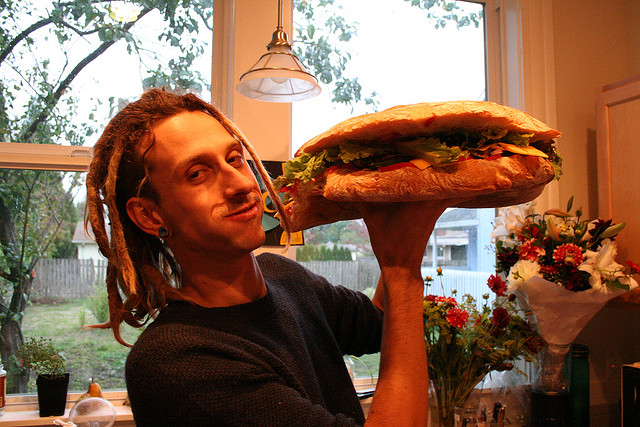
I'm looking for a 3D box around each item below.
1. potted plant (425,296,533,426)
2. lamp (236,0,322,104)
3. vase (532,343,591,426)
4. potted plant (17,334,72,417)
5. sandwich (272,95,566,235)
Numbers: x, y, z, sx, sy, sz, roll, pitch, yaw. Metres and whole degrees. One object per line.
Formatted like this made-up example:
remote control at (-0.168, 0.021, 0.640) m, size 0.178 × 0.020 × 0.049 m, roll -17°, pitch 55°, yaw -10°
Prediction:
potted plant at (0.739, 0.676, 3.085) m, size 0.566 × 0.641 × 0.618 m, roll -2°, pitch -9°, yaw 27°
lamp at (-0.188, -0.797, 2.919) m, size 0.347 × 0.473 × 0.343 m, roll -8°, pitch -9°, yaw 44°
vase at (1.284, 0.875, 3.126) m, size 0.384 × 0.437 × 0.201 m, roll 2°, pitch -7°, yaw -26°
potted plant at (-1.411, 0.824, 3.117) m, size 0.270 × 0.399 × 0.185 m, roll 0°, pitch -7°, yaw -17°
sandwich at (0.328, -0.176, 2.141) m, size 0.738 × 0.281 × 0.601 m, roll -6°, pitch 0°, yaw 6°
